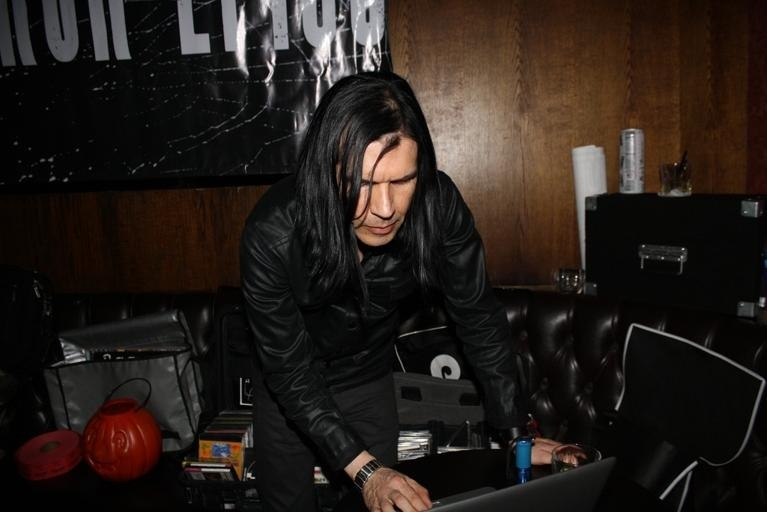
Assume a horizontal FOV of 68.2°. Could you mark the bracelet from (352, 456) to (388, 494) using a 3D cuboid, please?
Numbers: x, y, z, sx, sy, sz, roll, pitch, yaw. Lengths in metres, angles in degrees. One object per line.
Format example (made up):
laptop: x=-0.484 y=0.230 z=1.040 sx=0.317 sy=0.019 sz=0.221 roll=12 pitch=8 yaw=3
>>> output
bracelet: x=-0.054 y=0.689 z=1.841 sx=0.114 sy=0.112 sz=0.064 roll=-7 pitch=41 yaw=-47

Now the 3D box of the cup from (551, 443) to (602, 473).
cup: x=0.588 y=0.620 z=1.741 sx=0.107 sy=0.143 sz=0.067 roll=2 pitch=51 yaw=-4

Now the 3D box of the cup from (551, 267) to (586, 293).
cup: x=0.919 y=0.125 z=2.807 sx=0.110 sy=0.094 sz=0.124 roll=-5 pitch=-14 yaw=25
